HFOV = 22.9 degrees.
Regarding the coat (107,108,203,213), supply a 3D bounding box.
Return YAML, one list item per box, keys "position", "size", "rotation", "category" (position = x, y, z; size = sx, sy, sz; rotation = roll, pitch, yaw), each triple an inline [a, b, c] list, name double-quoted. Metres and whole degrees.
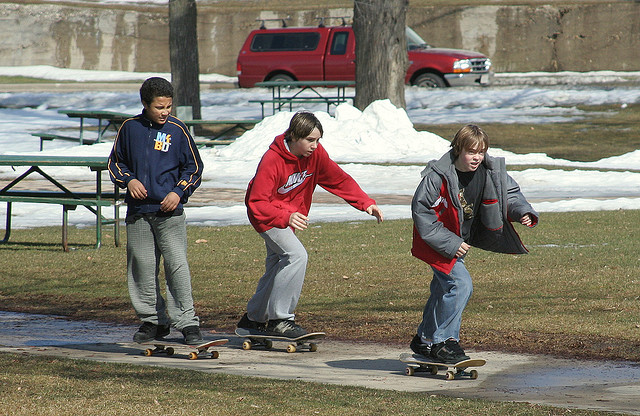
- position: [-3.728, -1.066, 35.828]
  size: [2.037, 2.355, 0.568]
  rotation: [0, 7, -6]
  category: "coat"
